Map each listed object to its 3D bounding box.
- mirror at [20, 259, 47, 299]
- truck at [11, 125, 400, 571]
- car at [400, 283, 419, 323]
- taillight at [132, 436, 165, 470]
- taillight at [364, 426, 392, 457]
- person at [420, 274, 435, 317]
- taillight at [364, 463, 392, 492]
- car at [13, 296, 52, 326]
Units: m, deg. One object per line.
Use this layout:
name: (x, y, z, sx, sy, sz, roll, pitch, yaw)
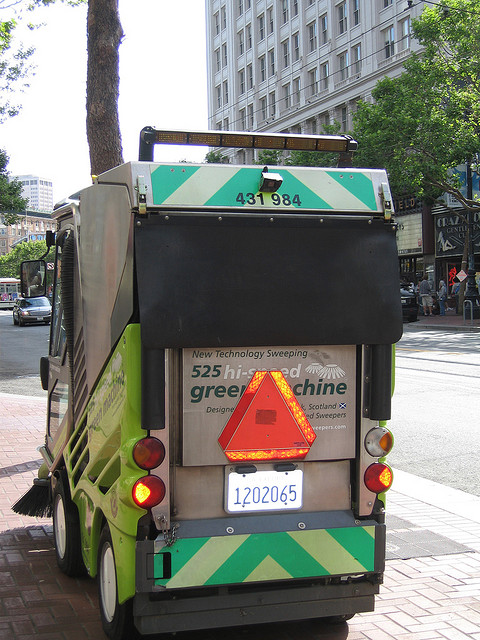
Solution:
mirror: (-1.388, -0.285, 4.813, 0.208, 0.370, 0.031, -2, 7, -37)
truck: (-0.074, 0.147, 4.056, 1.461, 2.475, 2.411, 1, -2, -20)
car: (7.176, -0.746, 30.278, 0.670, 1.598, 2.872, 0, 1, 14)
taillight: (-0.347, 0.501, 2.708, 0.091, 0.134, 0.084, 1, 9, -16)
taillight: (0.592, 0.522, 3.095, 0.084, 0.119, 0.058, 17, -11, -29)
person: (9.004, -1.079, 34.475, 0.642, 1.739, 1.712, 0, 1, 17)
taillight: (0.603, 0.683, 3.113, 0.134, 0.126, 0.024, 0, 1, -20)
car: (-10.278, -0.434, 35.499, 1.621, 1.393, 2.887, 0, 1, -23)
